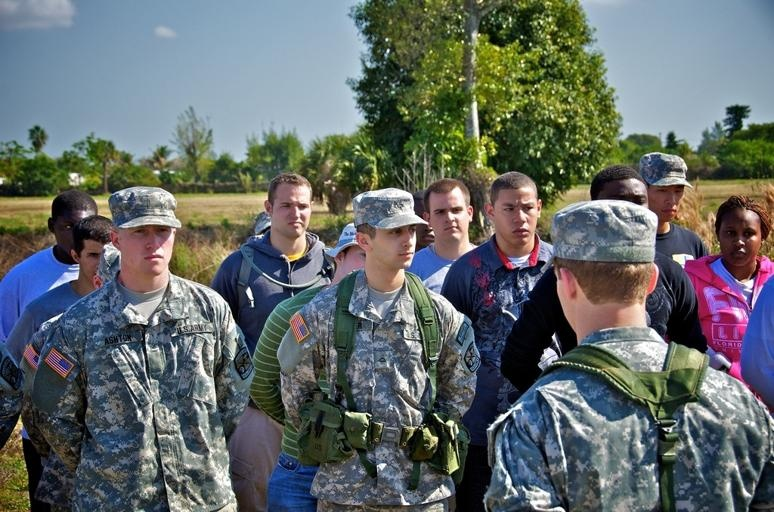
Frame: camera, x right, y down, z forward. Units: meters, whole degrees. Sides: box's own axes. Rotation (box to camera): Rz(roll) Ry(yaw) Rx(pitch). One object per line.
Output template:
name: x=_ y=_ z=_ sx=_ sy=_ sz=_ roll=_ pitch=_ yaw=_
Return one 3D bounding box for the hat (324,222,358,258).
hat: x=-0.413 y=-0.156 z=8.874 sx=0.262 sy=0.187 sz=0.345 roll=-8 pitch=-11 yaw=-34
